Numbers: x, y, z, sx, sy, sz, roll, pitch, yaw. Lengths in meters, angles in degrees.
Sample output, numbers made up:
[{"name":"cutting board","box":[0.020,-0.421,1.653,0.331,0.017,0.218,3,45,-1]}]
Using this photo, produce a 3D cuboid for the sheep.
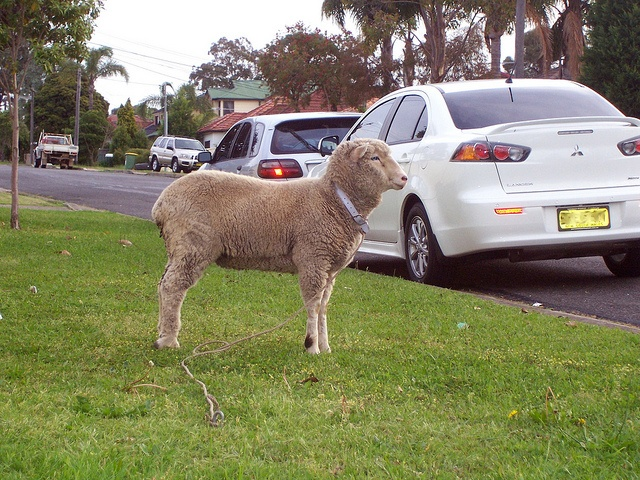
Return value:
[{"name":"sheep","box":[-0.276,0.132,6.047,2.017,1.868,0.830,1,-10,-5]}]

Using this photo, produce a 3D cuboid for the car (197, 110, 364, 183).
[{"name":"car","box":[-0.767,-1.562,10.650,1.295,1.113,2.436,-1,9,-18]}]

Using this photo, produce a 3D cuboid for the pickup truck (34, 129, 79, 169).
[{"name":"pickup truck","box":[-18.059,-6.092,44.461,2.385,2.526,4.681,1,4,-27]}]
